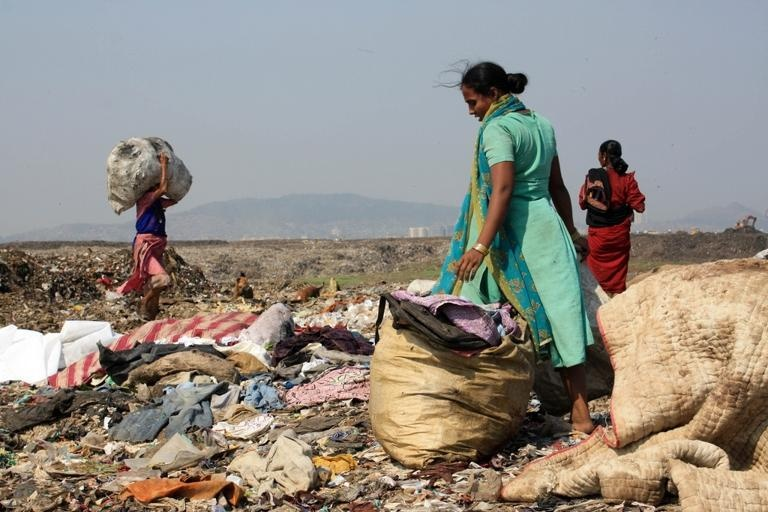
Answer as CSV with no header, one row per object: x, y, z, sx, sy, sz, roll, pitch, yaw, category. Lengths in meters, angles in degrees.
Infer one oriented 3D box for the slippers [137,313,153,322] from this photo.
-2.989,0.767,9.974,0.129,0.035,0.136,13,3,27,slippers

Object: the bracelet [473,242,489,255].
0.703,-0.049,5.774,0.127,0.095,0.051,-5,7,-16,bracelet

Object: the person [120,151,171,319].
-2.651,-0.188,8.967,0.653,1.873,0.394,-5,7,-14,person
